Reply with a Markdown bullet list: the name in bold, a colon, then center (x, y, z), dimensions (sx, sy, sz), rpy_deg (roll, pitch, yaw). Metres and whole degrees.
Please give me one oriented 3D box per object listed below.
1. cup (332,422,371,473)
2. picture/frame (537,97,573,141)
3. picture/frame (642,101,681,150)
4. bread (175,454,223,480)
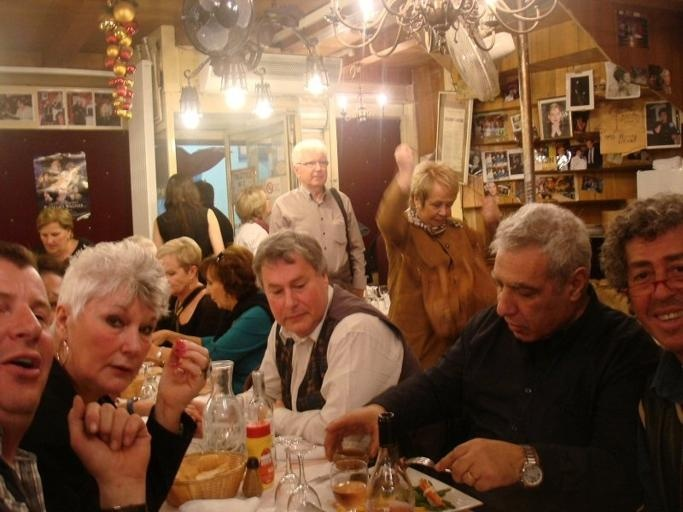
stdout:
- **cup**: center (0.031, 0.625, 1.798), dimensions (0.106, 0.094, 0.129), rpy_deg (0, -9, 0)
- **picture/frame**: center (2.035, -1.304, 5.289), dimensions (0.030, 0.437, 0.346), rpy_deg (-1, -9, -40)
- **picture/frame**: center (2.530, -1.038, 4.388), dimensions (0.245, 0.365, 0.151), rpy_deg (-1, 4, 29)
- **bread**: center (-0.469, 0.691, 1.827), dimensions (0.086, 0.041, 0.090), rpy_deg (2, -2, -4)
